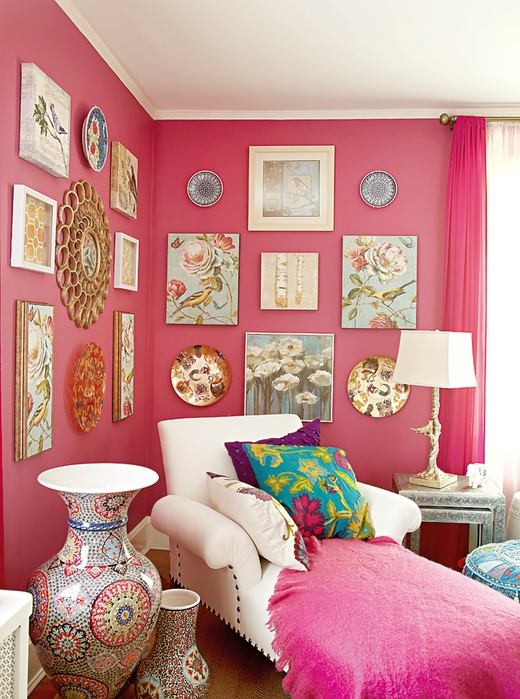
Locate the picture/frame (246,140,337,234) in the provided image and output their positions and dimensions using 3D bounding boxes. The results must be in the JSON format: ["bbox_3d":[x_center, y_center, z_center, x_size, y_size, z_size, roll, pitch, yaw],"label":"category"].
[{"bbox_3d":[0.199,-0.928,3.037,0.504,0.532,0.021,0,4,5],"label":"picture/frame"}]

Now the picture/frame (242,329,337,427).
[{"bbox_3d":[0.187,0.160,2.983,0.516,0.551,0.020,1,-3,4],"label":"picture/frame"}]

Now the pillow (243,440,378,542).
[{"bbox_3d":[0.178,0.527,2.116,0.577,0.162,0.606,1,22,-11],"label":"pillow"}]

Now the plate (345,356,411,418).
[{"bbox_3d":[0.627,0.179,3.012,0.031,0.285,0.281,-3,-15,-41],"label":"plate"}]

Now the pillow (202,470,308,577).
[{"bbox_3d":[-0.002,0.622,1.890,0.246,0.295,0.472,-1,-4,-23],"label":"pillow"}]
